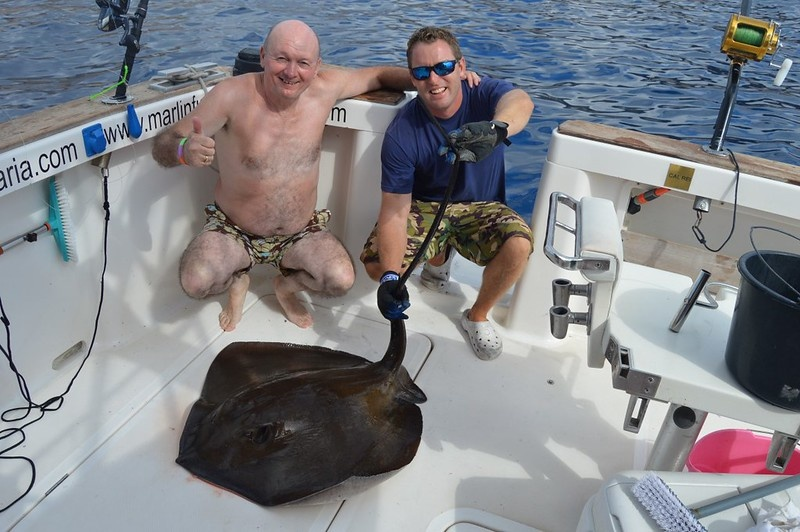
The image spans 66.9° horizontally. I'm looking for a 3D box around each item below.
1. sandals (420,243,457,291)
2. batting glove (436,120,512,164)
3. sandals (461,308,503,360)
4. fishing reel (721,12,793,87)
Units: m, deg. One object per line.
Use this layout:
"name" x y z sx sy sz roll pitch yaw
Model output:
"sandals" 0.244 -0.003 3.522 0.117 0.130 0.319 19 42 16
"batting glove" 0.316 -0.551 2.593 0.317 0.098 0.212 -7 5 2
"sandals" 0.433 0.346 3.165 0.167 0.133 0.324 -12 41 -14
"fishing reel" 1.522 -0.973 2.618 0.242 0.193 0.155 15 34 13
